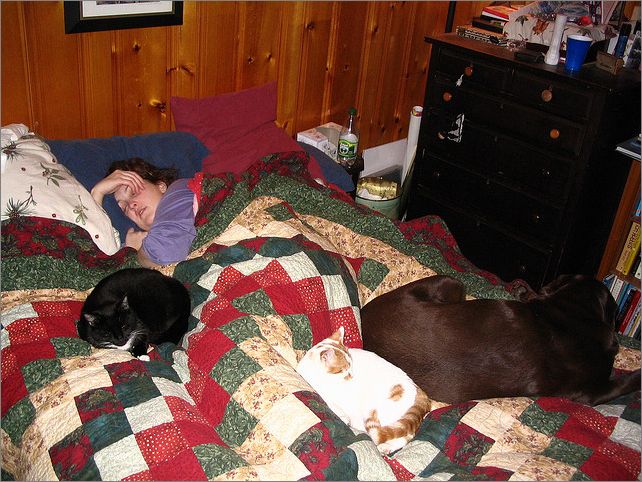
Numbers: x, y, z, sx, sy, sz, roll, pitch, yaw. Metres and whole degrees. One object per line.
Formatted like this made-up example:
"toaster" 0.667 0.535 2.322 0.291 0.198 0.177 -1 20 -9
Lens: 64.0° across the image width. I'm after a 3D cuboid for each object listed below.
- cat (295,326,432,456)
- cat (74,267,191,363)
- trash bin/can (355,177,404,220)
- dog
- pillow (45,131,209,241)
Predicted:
"cat" 0.108 0.491 1.591 0.367 0.159 0.276 31 47 10
"cat" -0.625 0.240 1.775 0.296 0.203 0.308 1 48 -5
"trash bin/can" 0.332 -0.245 2.929 0.167 0.180 0.165 31 49 25
"dog" 0.589 0.311 1.647 0.704 0.252 0.427 -9 31 -11
"pillow" -0.872 -0.260 2.364 0.532 0.138 0.469 -18 62 -35
